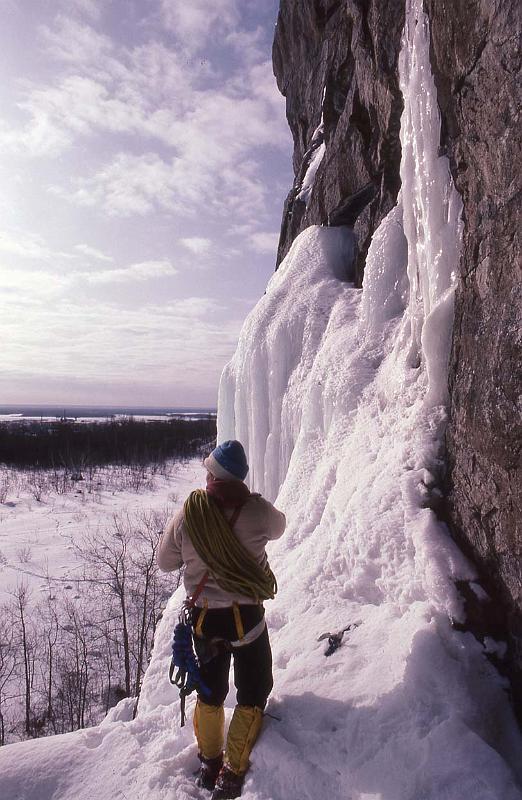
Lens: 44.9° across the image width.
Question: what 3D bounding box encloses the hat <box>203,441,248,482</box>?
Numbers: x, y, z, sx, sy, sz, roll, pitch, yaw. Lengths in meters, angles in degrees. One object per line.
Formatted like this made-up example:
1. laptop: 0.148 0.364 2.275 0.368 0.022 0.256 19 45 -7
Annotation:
1. hat: -0.189 0.306 3.206 0.147 0.236 0.217 9 -3 -25

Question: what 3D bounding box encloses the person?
1. person: -0.194 1.019 3.186 0.565 1.627 0.535 2 3 40
